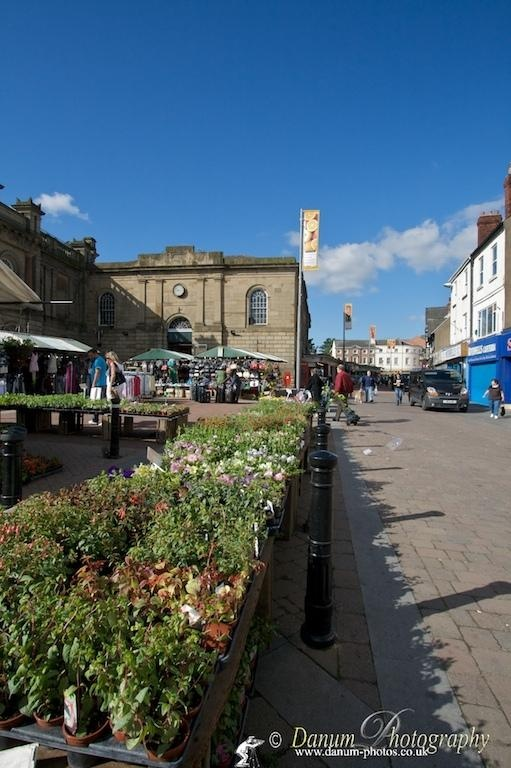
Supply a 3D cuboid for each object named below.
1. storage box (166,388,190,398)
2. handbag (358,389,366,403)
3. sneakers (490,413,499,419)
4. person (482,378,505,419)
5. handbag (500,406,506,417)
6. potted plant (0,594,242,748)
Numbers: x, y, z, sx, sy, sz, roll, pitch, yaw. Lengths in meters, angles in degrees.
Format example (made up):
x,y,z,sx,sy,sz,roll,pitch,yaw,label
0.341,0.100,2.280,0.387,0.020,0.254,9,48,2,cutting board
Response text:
x,y,z,sx,sy,sz,roll,pitch,yaw,label
-2.841,0.343,22.783,0.899,0.358,1.582,2,3,-8,storage box
5.003,0.600,26.644,0.245,0.584,1.016,0,-18,8,handbag
6.779,0.961,16.492,0.110,0.174,0.384,-3,-12,9,sneakers
7.051,0.414,17.092,0.441,1.109,2.277,3,3,22,person
7.116,0.832,16.758,0.073,0.312,0.295,4,-1,14,handbag
-0.354,0.856,1.851,0.322,0.226,0.416,1,4,22,potted plant
